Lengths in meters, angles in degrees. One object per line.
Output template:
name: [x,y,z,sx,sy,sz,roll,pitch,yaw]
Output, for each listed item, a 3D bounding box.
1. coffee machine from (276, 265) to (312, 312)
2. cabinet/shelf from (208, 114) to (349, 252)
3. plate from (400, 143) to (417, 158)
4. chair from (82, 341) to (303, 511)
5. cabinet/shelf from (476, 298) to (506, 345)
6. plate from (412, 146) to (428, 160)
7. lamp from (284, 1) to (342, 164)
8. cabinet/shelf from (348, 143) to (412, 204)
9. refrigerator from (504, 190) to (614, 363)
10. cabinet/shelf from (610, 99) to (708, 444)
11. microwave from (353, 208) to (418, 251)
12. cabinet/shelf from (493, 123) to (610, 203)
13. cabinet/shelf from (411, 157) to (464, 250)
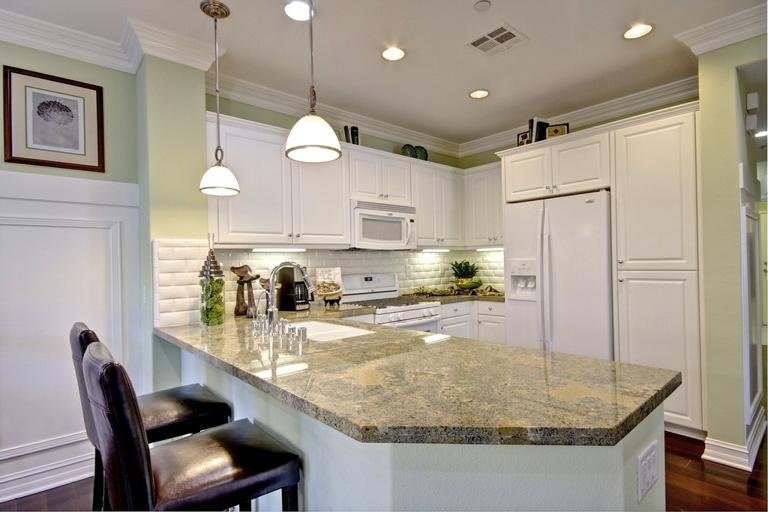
coffee machine: [-0.832,0.291,4.870,0.328,0.408,0.281,-4,1,0]
cabinet/shelf: [-1.011,-0.568,4.949,0.504,1.095,1.512,-5,-3,44]
plate: [0.281,-1.167,5.854,0.166,0.159,0.038,0,10,-24]
chair: [-1.197,0.879,3.246,1.092,1.360,0.978,-3,3,-33]
cabinet/shelf: [1.228,0.716,5.817,0.345,0.571,0.301,1,22,20]
plate: [0.409,-1.168,5.965,0.160,0.156,0.046,34,-9,-27]
lamp: [-0.524,-1.232,3.660,0.345,1.143,1.118,-2,10,-10]
cabinet/shelf: [-0.058,-0.827,5.444,0.256,0.425,0.726,-3,-4,42]
refrigerator: [1.684,0.185,5.319,1.003,1.765,0.800,-4,23,15]
cabinet/shelf: [2.452,0.148,4.642,0.697,2.764,0.524,-2,-1,37]
microwave: [-0.055,-0.289,5.578,0.791,0.436,0.449,1,-2,-35]
cabinet/shelf: [1.629,-0.894,5.166,1.098,0.540,0.319,-10,24,6]
cabinet/shelf: [0.627,-0.593,6.021,0.222,0.975,0.806,9,14,41]
